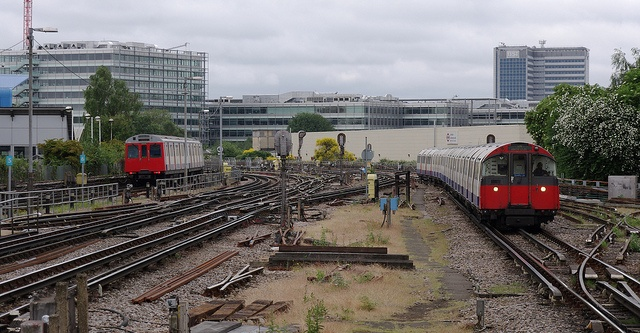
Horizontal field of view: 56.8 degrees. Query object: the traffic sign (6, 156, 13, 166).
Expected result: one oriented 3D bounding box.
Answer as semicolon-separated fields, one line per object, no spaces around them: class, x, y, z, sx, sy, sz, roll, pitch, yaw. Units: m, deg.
traffic sign;-20.257;-0.376;39.022;0.240;0.700;1.386;-4;5;-24
